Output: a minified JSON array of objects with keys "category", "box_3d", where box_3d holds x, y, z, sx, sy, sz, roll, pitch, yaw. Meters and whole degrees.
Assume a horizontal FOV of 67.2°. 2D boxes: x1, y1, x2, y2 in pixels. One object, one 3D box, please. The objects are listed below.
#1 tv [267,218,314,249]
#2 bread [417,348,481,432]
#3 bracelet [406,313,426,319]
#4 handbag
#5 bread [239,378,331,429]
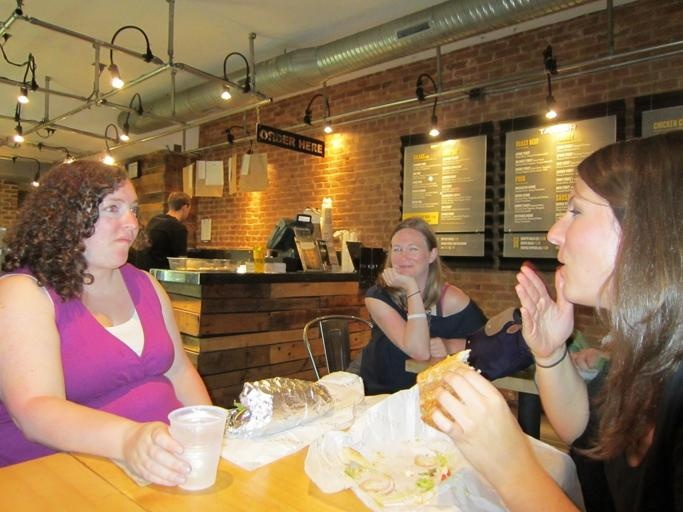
[{"category":"tv","box_3d":[-0.459,-0.212,4.597,0.309,0.269,0.301,-1,5,-41]},{"category":"bread","box_3d":[0.281,0.353,1.477,0.069,0.207,0.208,40,-16,2]},{"category":"bracelet","box_3d":[0.380,0.303,2.601,0.090,0.034,0.058,1,11,12]},{"category":"handbag","box_3d":[0.677,0.338,1.912,0.268,0.146,0.211,-45,9,34]},{"category":"bread","box_3d":[-0.185,0.458,1.619,0.254,0.098,0.138,0,8,-31]}]
